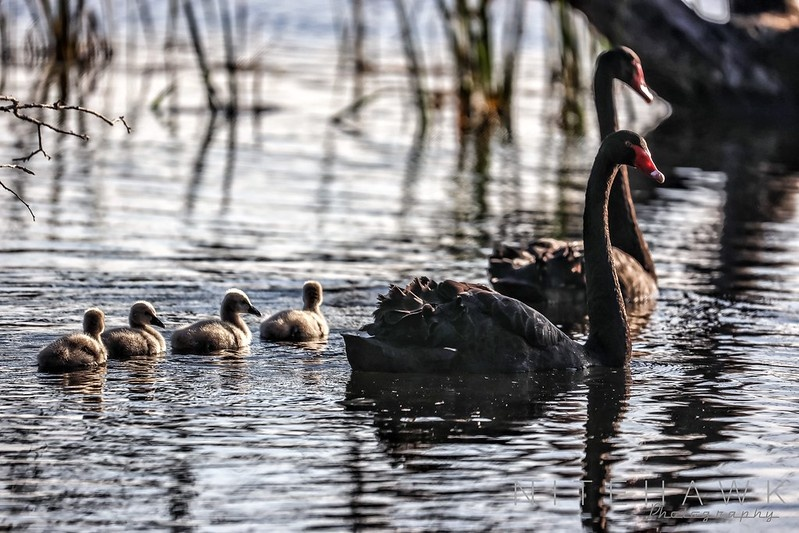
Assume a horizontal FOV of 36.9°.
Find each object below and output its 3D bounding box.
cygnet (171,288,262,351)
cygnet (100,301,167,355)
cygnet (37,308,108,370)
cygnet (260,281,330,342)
[{"bbox_3d":[-2.140,0.654,13.886,1.140,0.639,0.645,-4,10,-37],"label":"cygnet"},{"bbox_3d":[-2.924,0.717,13.364,0.499,0.642,0.606,1,-6,21],"label":"cygnet"},{"bbox_3d":[-3.437,0.788,12.861,0.374,0.689,0.752,-2,-7,38],"label":"cygnet"},{"bbox_3d":[-1.159,0.543,14.336,0.777,0.746,0.558,7,-7,-40],"label":"cygnet"}]
